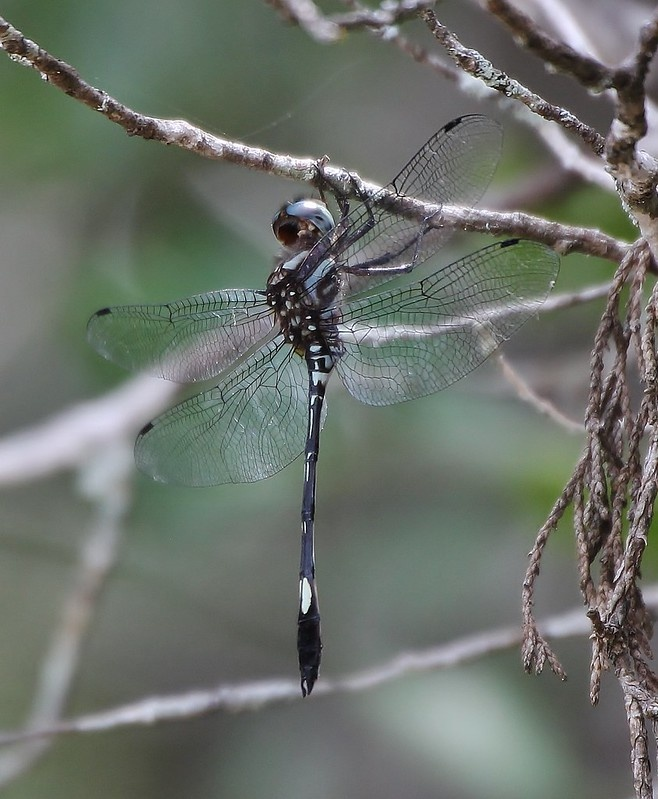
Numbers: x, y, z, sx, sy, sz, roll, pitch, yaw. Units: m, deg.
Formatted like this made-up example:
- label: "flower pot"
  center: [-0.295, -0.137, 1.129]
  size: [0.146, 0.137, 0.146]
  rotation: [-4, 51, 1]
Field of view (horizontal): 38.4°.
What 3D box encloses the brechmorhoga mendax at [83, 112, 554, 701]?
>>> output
- label: "brechmorhoga mendax"
  center: [0.005, -0.023, 0.899]
  size: [0.531, 0.210, 0.496]
  rotation: [-3, -96, 14]
